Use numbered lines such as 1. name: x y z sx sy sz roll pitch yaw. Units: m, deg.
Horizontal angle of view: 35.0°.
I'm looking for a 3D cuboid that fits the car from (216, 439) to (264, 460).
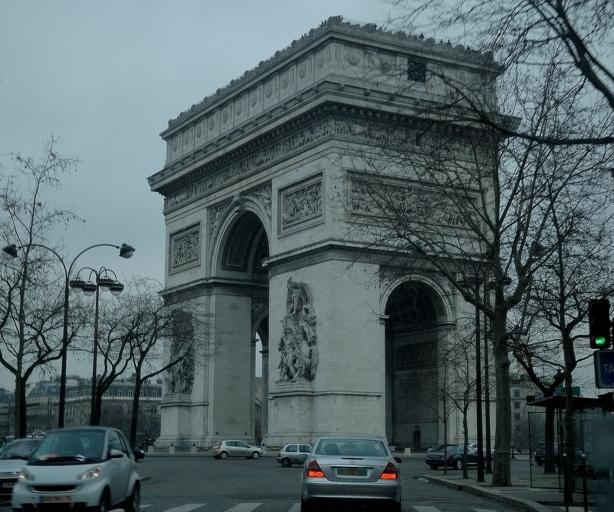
1. car: -4.251 11.803 59.616 1.957 1.030 1.312 -1 -7 -6
